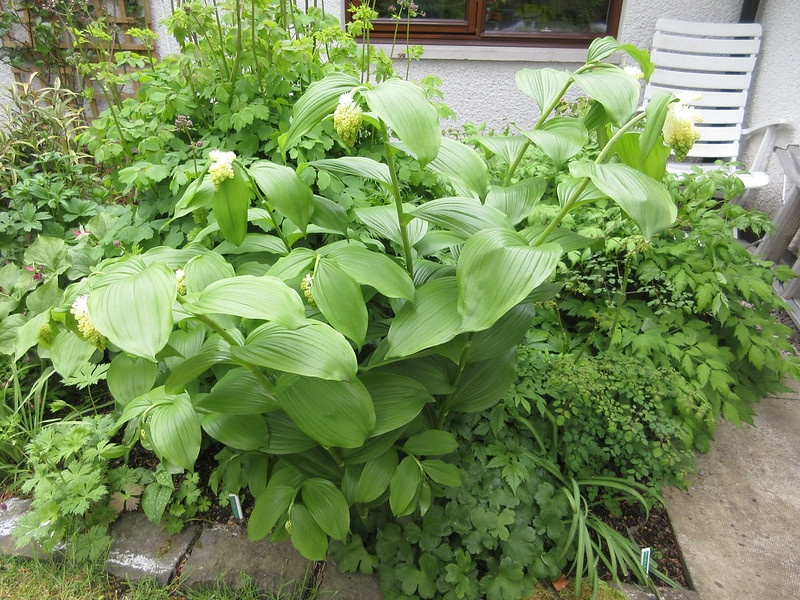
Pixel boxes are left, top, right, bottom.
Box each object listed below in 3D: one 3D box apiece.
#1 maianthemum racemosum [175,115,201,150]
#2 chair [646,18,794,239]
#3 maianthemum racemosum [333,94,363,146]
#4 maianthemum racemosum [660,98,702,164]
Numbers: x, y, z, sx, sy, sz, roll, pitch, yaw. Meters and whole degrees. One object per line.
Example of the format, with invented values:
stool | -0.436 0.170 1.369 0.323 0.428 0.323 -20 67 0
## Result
maianthemum racemosum | -1.027 -0.816 2.552 0.125 0.082 0.297 -32 33 -12
chair | 2.565 -1.486 4.423 1.021 1.544 1.149 7 29 14
maianthemum racemosum | -0.167 -0.550 1.619 0.099 0.154 0.095 7 29 14
maianthemum racemosum | 0.959 -0.572 1.803 0.109 0.240 0.327 14 31 26
